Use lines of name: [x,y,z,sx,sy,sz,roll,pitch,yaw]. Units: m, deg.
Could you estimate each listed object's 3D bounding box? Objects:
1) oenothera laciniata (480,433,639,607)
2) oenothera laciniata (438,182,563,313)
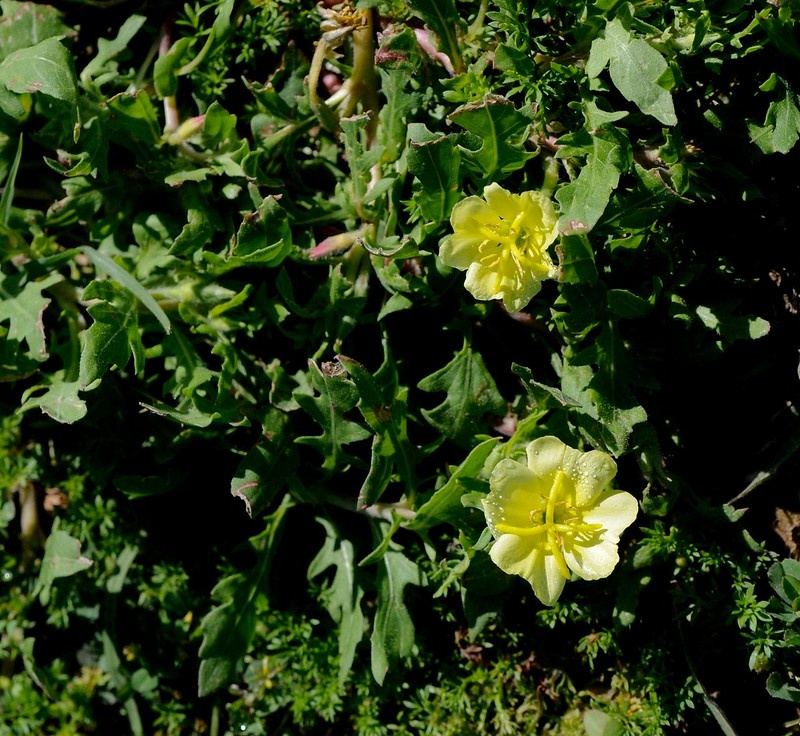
oenothera laciniata: [0.287,0.276,1.343,0.270,0.333,0.140,-6,-10,-2]
oenothera laciniata: [0.183,-0.230,1.379,0.235,0.196,0.102,-67,-9,22]
